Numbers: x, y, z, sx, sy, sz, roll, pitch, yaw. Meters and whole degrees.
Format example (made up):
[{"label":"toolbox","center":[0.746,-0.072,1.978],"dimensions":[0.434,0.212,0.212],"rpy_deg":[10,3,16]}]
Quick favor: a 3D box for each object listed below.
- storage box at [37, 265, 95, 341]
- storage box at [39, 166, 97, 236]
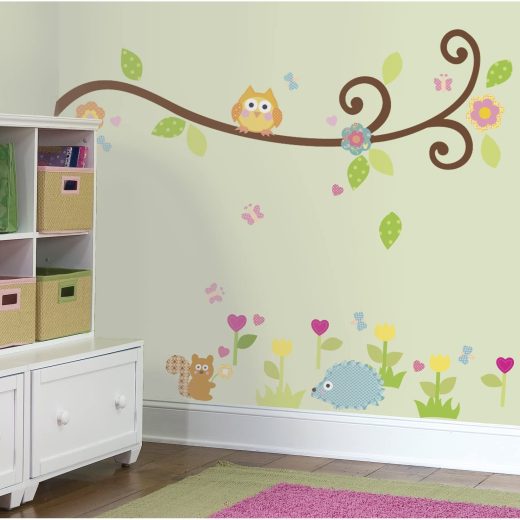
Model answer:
[{"label":"storage box","center":[-0.737,0.143,2.060],"dimensions":[0.230,0.279,0.293],"rpy_deg":[0,1,29]},{"label":"storage box","center":[-0.736,-0.230,2.039],"dimensions":[0.214,0.199,0.120],"rpy_deg":[0,4,-27]}]
